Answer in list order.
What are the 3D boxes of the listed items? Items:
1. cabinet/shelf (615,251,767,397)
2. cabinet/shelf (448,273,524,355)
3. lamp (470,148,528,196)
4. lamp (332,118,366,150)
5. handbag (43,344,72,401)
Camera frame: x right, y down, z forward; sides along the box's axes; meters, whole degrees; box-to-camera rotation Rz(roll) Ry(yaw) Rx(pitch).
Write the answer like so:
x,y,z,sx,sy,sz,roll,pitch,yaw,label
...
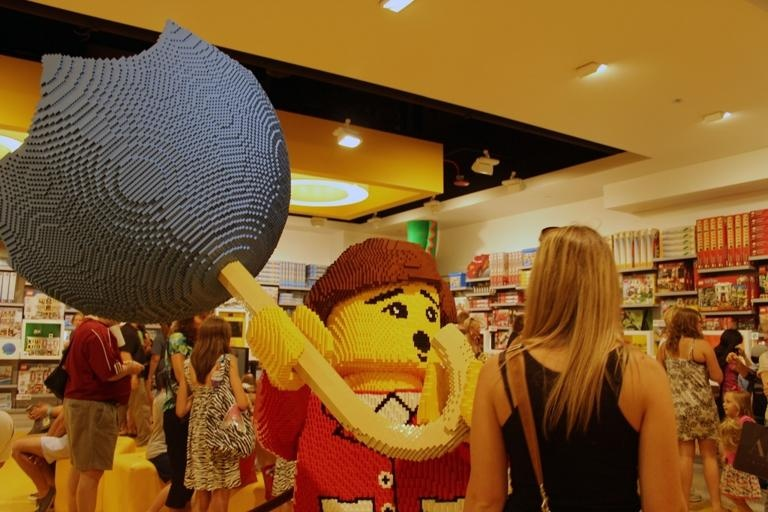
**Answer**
x,y,z,sx,sy,sz,roll,pitch,yaw,label
3.117,0.611,5.398,1.291,1.335,0.479,-9,-23,30,cabinet/shelf
1.321,0.660,6.785,0.413,1.322,1.254,2,-3,-31,cabinet/shelf
1.557,-1.191,7.358,0.539,0.458,1.395,0,-8,19,lamp
-0.405,-1.354,5.968,0.265,0.368,0.494,4,-8,-10,lamp
-2.550,0.908,4.328,0.144,0.453,0.635,6,-8,-31,handbag
